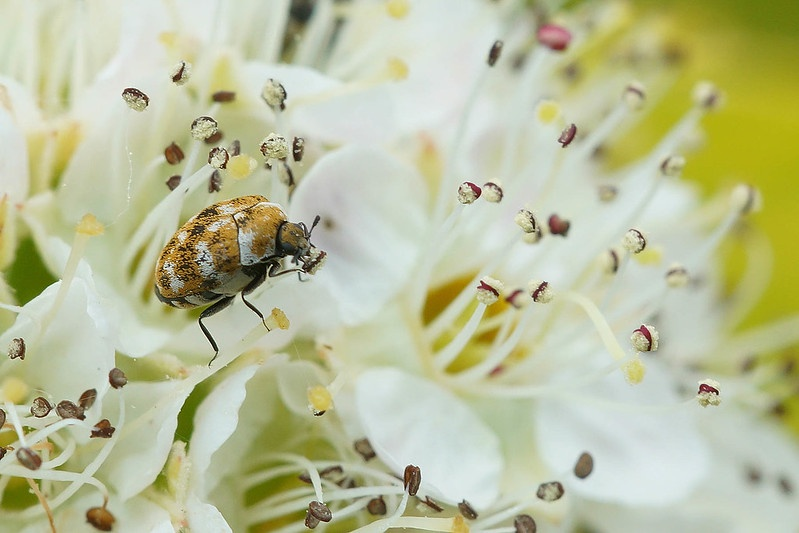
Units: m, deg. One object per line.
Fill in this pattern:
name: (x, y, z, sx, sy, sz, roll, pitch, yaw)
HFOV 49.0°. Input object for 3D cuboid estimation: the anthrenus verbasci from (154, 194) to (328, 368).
anthrenus verbasci: (-0.281, 0.000, 1.716, 0.319, 0.210, 0.286, -18, 36, -3)
